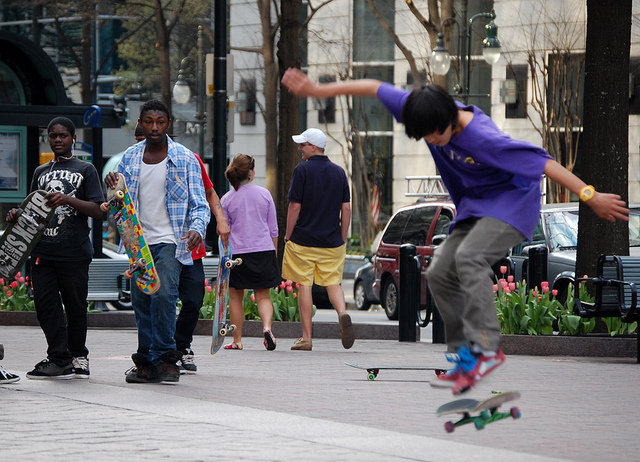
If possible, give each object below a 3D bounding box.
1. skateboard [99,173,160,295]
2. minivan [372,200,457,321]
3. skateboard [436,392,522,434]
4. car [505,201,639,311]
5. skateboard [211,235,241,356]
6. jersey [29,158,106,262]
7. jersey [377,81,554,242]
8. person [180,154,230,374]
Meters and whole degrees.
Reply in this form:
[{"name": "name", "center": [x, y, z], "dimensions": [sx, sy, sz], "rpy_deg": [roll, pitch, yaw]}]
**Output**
[{"name": "skateboard", "center": [-1.672, 0.085, 8.591], "dimensions": [0.312, 1.390, 0.195], "rpy_deg": [-21, -7, 38]}, {"name": "minivan", "center": [1.646, 0.601, 16.920], "dimensions": [1.191, 2.243, 1.514], "rpy_deg": [-3, 9, 11]}, {"name": "skateboard", "center": [1.092, 1.274, 6.654], "dimensions": [0.444, 0.308, 0.614], "rpy_deg": [1, 4, 35]}, {"name": "car", "center": [3.568, 0.241, 13.291], "dimensions": [1.587, 1.336, 2.579], "rpy_deg": [1, -4, -15]}, {"name": "skateboard", "center": [-0.980, 0.682, 9.927], "dimensions": [0.147, 1.192, 0.270], "rpy_deg": [3, -3, 9]}, {"name": "jersey", "center": [-2.355, -0.193, 9.036], "dimensions": [0.695, 0.974, 0.435], "rpy_deg": [-1, 3, -10]}, {"name": "jersey", "center": [1.010, -0.510, 7.227], "dimensions": [0.798, 1.582, 1.353], "rpy_deg": [9, 10, -6]}, {"name": "person", "center": [-1.093, 0.373, 9.223], "dimensions": [0.276, 2.187, 0.474], "rpy_deg": [-2, 7, -18]}]
